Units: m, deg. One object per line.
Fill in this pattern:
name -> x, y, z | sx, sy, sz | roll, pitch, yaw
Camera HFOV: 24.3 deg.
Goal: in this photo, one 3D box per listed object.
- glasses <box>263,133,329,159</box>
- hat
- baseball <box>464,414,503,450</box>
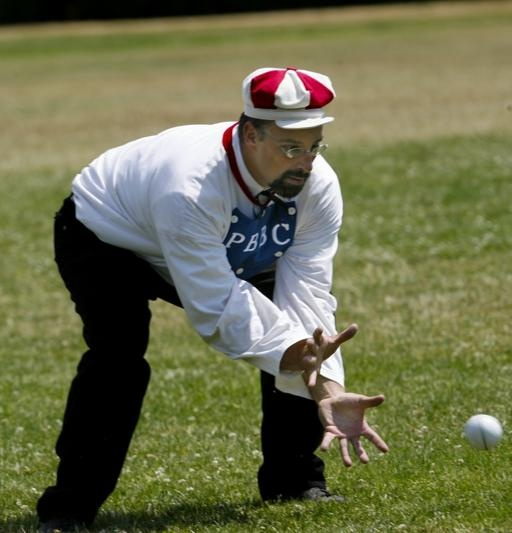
glasses -> 0.190, -0.580, 5.776 | 0.326, 0.147, 0.144 | -5, 23, -13
hat -> 0.162, -0.846, 5.805 | 0.434, 0.250, 0.562 | -12, 26, -35
baseball -> 1.148, 0.826, 6.027 | 0.185, 0.161, 0.202 | 12, 25, 25
